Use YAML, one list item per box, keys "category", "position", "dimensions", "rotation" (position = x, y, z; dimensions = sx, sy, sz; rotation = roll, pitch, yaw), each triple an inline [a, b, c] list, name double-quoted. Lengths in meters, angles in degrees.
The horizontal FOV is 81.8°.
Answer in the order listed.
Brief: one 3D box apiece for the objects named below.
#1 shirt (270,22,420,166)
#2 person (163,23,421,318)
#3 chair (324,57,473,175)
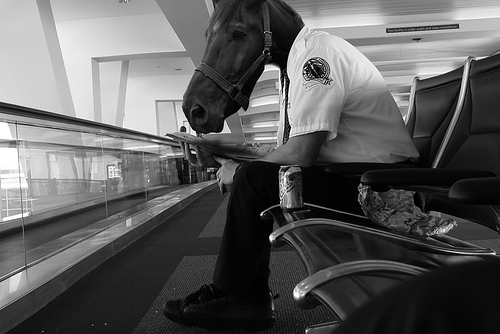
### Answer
- category: "shirt"
  position: [0.448, -0.343, 1.606]
  dimensions: [0.671, 0.729, 0.868]
  rotation: [-8, -3, 2]
- category: "person"
  position: [0.195, -0.004, 1.550]
  dimensions: [1.304, 1.436, 0.778]
  rotation: [-1, -2, -13]
- category: "chair"
  position: [0.839, -0.253, 1.717]
  dimensions: [0.708, 0.646, 0.468]
  rotation: [-3, 3, -5]
